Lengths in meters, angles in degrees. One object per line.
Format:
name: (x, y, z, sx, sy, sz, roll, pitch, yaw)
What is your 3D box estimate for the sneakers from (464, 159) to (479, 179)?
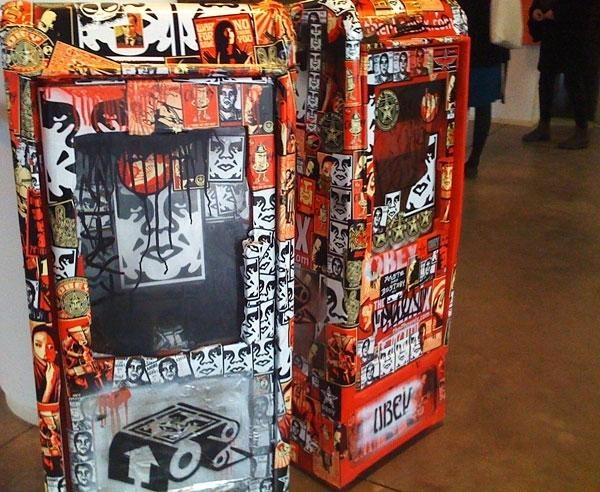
sneakers: (1.701, -0.766, 5.954, 0.078, 0.179, 0.246, 4, 29, 13)
